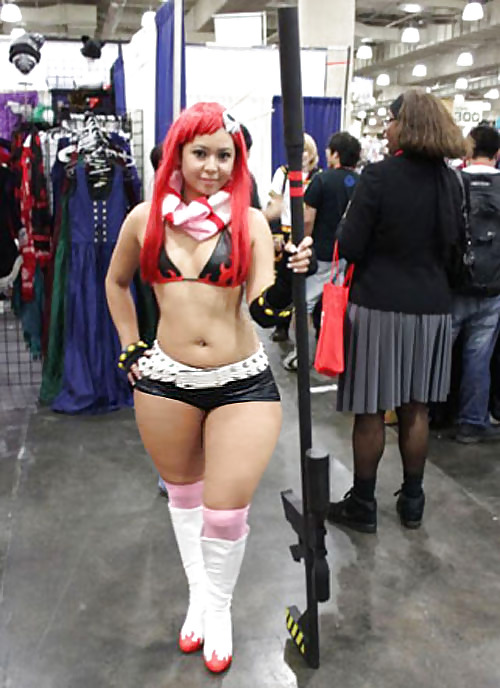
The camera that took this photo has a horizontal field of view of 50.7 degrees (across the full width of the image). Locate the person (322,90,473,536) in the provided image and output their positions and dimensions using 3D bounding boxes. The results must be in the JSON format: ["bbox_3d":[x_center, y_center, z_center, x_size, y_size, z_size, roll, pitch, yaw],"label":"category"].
[{"bbox_3d":[0.539,-0.064,1.954,0.463,1.635,0.336,1,7,11],"label":"person"}]

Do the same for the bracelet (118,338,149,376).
[{"bbox_3d":[-0.286,0.016,1.294,0.028,0.081,0.064,40,3,34],"label":"bracelet"}]

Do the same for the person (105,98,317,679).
[{"bbox_3d":[-0.092,0.159,1.219,0.272,1.349,0.670,-5,9,-40],"label":"person"}]

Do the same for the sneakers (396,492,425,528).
[{"bbox_3d":[0.641,0.666,2.103,0.057,0.095,0.194,-1,16,2],"label":"sneakers"}]

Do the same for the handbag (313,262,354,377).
[{"bbox_3d":[0.302,-0.108,1.936,0.106,0.464,0.088,1,-15,32],"label":"handbag"}]

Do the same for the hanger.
[{"bbox_3d":[-0.947,-1.219,3.155,0.383,0.370,0.192,5,1,5],"label":"hanger"}]
